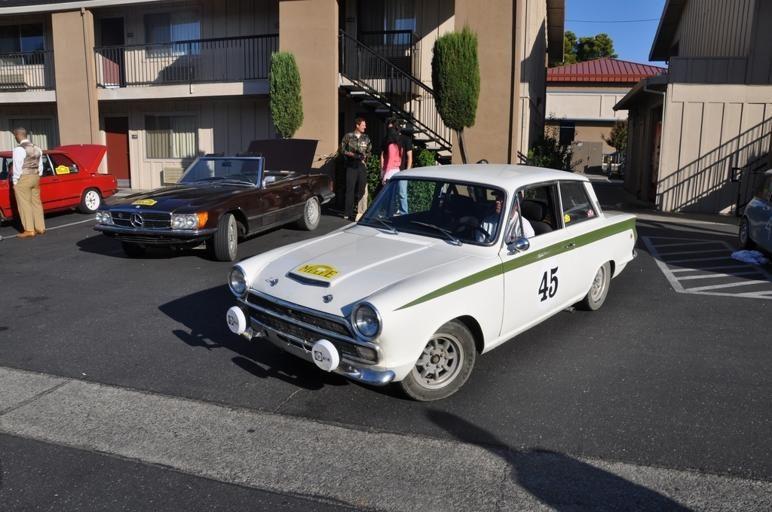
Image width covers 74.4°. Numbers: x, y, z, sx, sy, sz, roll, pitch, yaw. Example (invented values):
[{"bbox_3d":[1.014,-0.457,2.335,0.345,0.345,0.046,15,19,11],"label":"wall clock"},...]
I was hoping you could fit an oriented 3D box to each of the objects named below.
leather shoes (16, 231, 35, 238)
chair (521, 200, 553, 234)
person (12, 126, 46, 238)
[{"bbox_3d":[-8.177,-0.510,11.533,0.440,0.229,0.167,3,6,5],"label":"leather shoes"},{"bbox_3d":[1.799,-0.468,6.198,0.303,0.477,0.463,3,5,-1],"label":"chair"},{"bbox_3d":[-8.196,-1.706,11.636,0.686,2.389,0.951,-10,18,-31],"label":"person"}]
